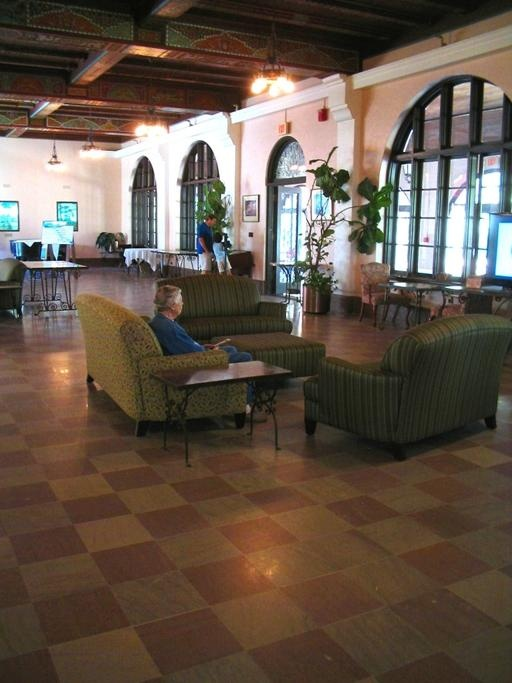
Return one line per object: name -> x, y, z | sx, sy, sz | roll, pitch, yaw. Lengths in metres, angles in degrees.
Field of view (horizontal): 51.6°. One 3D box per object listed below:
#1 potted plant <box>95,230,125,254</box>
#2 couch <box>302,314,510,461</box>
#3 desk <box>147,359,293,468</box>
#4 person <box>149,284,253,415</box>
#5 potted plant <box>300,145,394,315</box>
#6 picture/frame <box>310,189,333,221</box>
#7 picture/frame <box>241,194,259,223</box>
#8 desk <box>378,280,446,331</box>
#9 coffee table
potted plant -> -5.548, -3.808, 20.318 | 1.274, 0.859, 0.751 | 1, 5, 12
couch -> 0.969, 0.223, 3.631 | 1.123, 0.824, 1.025 | -7, 11, -33
desk -> -0.250, 0.419, 3.897 | 0.909, 0.560, 1.534 | 0, 5, -5
person -> -0.392, 0.105, 4.166 | 0.897, 1.072, 0.462 | -7, 15, -29
potted plant -> 1.502, -2.050, 9.930 | 1.189, 3.081, 2.338 | -2, 6, -26
picture/frame -> 1.283, -2.744, 10.665 | 0.154, 0.567, 0.616 | -2, 10, -30
picture/frame -> -0.121, -3.225, 12.823 | 0.036, 0.761, 0.743 | -5, 10, -29
desk -> 2.501, -0.605, 8.471 | 0.891, 0.965, 0.941 | 1, 6, -33
coffee table -> 0.177, 0.077, 5.094 | 0.629, 0.240, 0.593 | -3, 11, -29
